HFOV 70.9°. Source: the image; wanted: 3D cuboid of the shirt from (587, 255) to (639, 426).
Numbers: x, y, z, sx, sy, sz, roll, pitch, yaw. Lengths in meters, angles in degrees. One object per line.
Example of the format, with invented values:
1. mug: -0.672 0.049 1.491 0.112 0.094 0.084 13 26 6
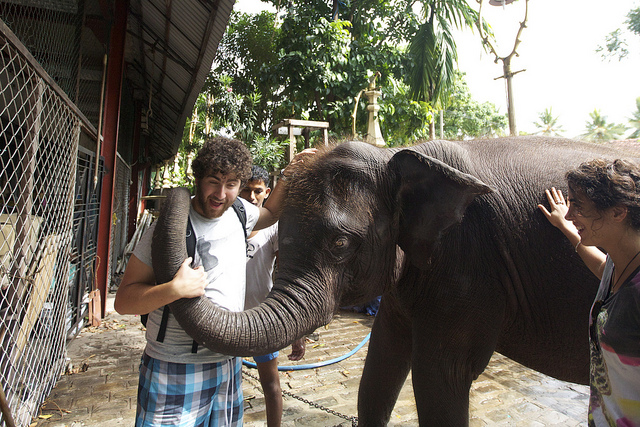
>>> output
1. shirt: 1.894 0.878 2.941 0.188 1.070 0.373 2 1 -7

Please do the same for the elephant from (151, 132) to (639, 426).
1. elephant: 0.661 0.512 4.047 3.832 2.251 1.816 0 -2 -15
